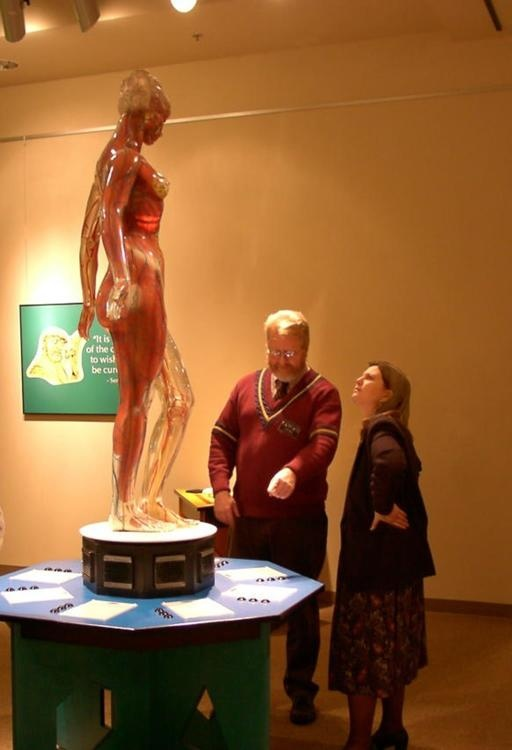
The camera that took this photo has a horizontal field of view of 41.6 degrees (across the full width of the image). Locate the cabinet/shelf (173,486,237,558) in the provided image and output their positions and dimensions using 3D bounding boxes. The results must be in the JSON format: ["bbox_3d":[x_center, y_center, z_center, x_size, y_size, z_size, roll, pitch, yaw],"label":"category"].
[{"bbox_3d":[-0.328,0.879,3.846,0.278,0.346,0.391,10,1,-34],"label":"cabinet/shelf"}]

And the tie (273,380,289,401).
[{"bbox_3d":[0.097,0.059,2.694,0.053,0.083,0.025,1,-20,31],"label":"tie"}]

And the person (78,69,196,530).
[{"bbox_3d":[-0.406,-0.241,2.149,0.331,1.411,0.369,-3,-5,36],"label":"person"}]

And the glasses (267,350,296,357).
[{"bbox_3d":[0.098,-0.081,2.629,0.103,0.035,0.038,0,-4,6],"label":"glasses"}]

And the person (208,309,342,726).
[{"bbox_3d":[0.079,0.264,2.676,0.411,1.041,0.571,3,-5,-28],"label":"person"}]
